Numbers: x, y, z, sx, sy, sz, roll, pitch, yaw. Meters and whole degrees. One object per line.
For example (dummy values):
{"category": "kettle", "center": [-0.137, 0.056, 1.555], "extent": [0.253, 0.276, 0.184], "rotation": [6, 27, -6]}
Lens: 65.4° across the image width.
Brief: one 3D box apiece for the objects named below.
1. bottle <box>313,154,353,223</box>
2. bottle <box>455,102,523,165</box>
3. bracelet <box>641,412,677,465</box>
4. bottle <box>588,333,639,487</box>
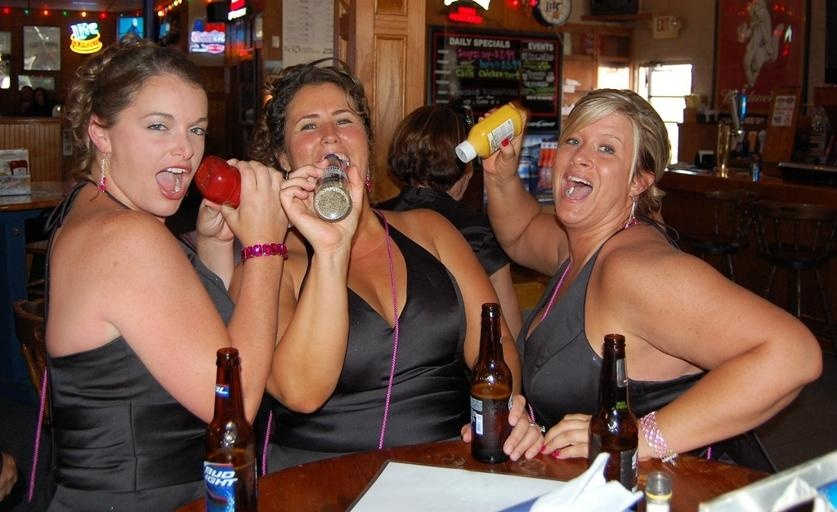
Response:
{"category": "bottle", "center": [-0.312, -0.238, 2.380], "extent": [0.136, 0.232, 0.181], "rotation": [0, 10, 3]}
{"category": "bottle", "center": [0.352, -0.547, 3.032], "extent": [0.384, 0.188, 0.147], "rotation": [-31, 60, -22]}
{"category": "bracelet", "center": [0.820, 0.633, 2.229], "extent": [0.106, 0.145, 0.035], "rotation": [-38, -16, -6]}
{"category": "bottle", "center": [0.641, 0.484, 2.106], "extent": [0.156, 0.508, 0.231], "rotation": [3, 10, 19]}
